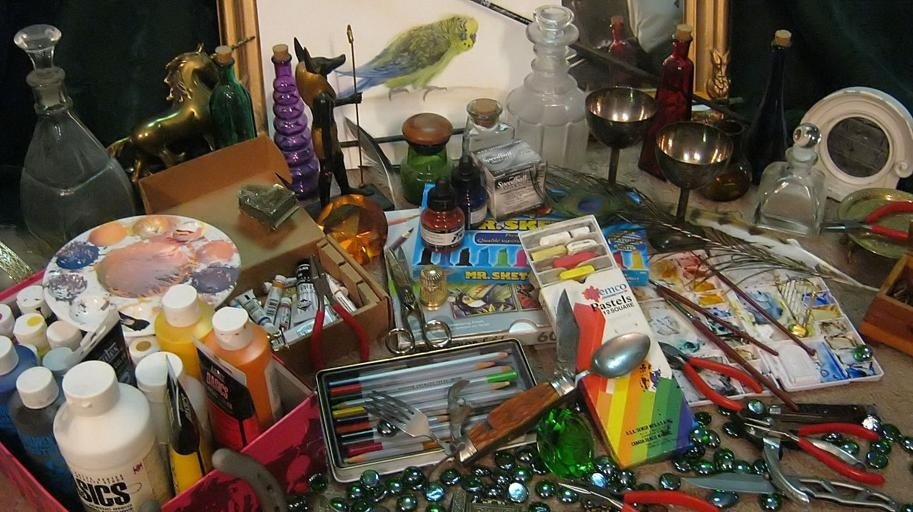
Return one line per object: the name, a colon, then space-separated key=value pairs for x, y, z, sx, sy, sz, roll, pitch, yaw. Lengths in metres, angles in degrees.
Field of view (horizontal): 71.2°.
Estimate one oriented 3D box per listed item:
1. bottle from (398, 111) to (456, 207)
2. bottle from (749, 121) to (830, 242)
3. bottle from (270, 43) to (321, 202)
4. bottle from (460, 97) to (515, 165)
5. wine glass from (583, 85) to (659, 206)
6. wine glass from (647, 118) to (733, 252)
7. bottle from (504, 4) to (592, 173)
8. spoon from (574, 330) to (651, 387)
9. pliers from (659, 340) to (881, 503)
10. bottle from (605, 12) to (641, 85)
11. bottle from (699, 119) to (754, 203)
bottle: x=-0.079 y=-0.242 z=1.616 sx=0.158 sy=0.225 sz=0.155 roll=2 pitch=46 yaw=-2
bottle: x=0.874 y=-0.215 z=1.639 sx=0.160 sy=0.277 sz=0.242 roll=9 pitch=32 yaw=28
bottle: x=-0.425 y=-0.336 z=1.670 sx=0.120 sy=0.395 sz=0.116 roll=3 pitch=3 yaw=0
bottle: x=0.084 y=-0.319 z=1.652 sx=0.142 sy=0.147 sz=0.203 roll=-7 pitch=39 yaw=-11
wine glass: x=0.434 y=-0.290 z=1.672 sx=0.212 sy=0.317 sz=0.207 roll=-16 pitch=46 yaw=-9
wine glass: x=0.596 y=-0.176 z=1.601 sx=0.242 sy=0.240 sz=0.265 roll=10 pitch=46 yaw=12
bottle: x=0.237 y=-0.425 z=1.691 sx=0.174 sy=0.533 sz=0.144 roll=2 pitch=1 yaw=13
spoon: x=0.336 y=0.215 z=1.344 sx=0.183 sy=0.063 sz=0.059 roll=-20 pitch=30 yaw=-25
pliers: x=0.619 y=0.337 z=1.411 sx=0.191 sy=0.044 sz=0.558 roll=-38 pitch=59 yaw=-21
bottle: x=0.457 y=-0.564 z=1.757 sx=0.064 sy=0.158 sz=0.100 roll=-15 pitch=49 yaw=-2
bottle: x=0.688 y=-0.241 z=1.631 sx=0.139 sy=0.182 sz=0.139 roll=-2 pitch=39 yaw=2
